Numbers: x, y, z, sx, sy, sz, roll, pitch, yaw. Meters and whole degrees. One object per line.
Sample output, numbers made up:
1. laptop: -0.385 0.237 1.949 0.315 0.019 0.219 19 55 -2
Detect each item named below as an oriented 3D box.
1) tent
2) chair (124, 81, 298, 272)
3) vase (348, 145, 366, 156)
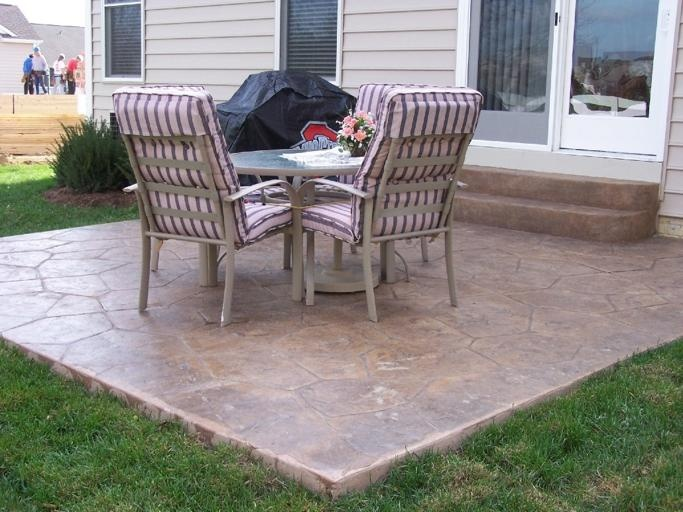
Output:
1. tent: -0.846 -1.848 7.725 2.004 0.966 1.799 5 8 15
2. chair: -0.846 -0.452 3.767 0.842 1.311 0.834 9 19 28
3. vase: 0.128 -0.837 4.524 0.102 0.060 0.094 -9 23 -30
